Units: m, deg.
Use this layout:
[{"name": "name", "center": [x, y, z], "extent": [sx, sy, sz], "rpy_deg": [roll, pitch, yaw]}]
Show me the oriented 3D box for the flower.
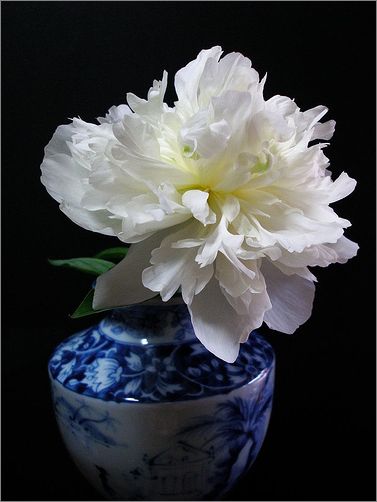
[{"name": "flower", "center": [0.028, -0.089, 0.605], "extent": [0.355, 0.217, 0.343], "rpy_deg": [19, 15, 10]}]
